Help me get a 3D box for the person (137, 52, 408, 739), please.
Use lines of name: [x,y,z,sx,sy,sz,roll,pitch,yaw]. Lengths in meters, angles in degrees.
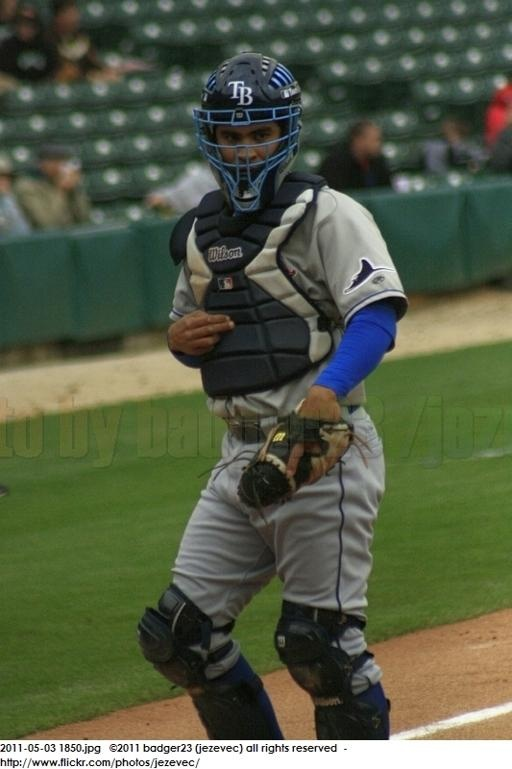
person: [0.038,0.115,1.897,0.586,1.684,0.637,-1,15,9]
